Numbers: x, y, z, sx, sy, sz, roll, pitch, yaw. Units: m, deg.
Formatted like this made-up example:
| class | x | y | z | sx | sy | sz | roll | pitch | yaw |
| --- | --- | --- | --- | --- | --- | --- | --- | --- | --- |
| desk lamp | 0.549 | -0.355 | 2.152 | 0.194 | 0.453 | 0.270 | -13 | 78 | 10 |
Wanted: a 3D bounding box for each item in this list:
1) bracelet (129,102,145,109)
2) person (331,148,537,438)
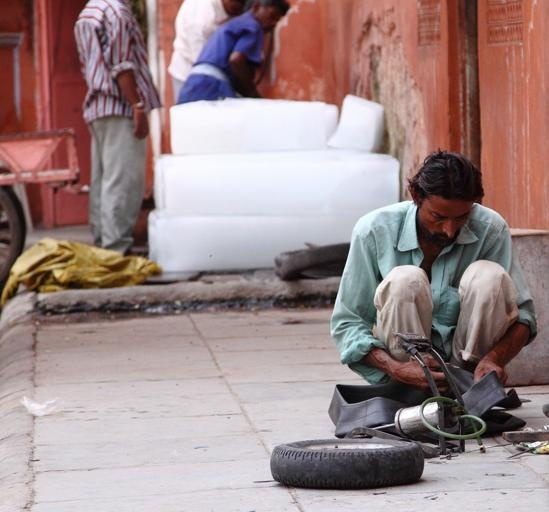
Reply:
| class | x | y | z | sx | sy | sz | roll | pitch | yaw |
| --- | --- | --- | --- | --- | --- | --- | --- | --- | --- |
| bracelet | -0.889 | -1.005 | 7.337 | 0.083 | 0.044 | 0.077 | -3 | 9 | -8 |
| person | 0.629 | 0.078 | 4.263 | 0.770 | 0.929 | 0.723 | -3 | 10 | -8 |
